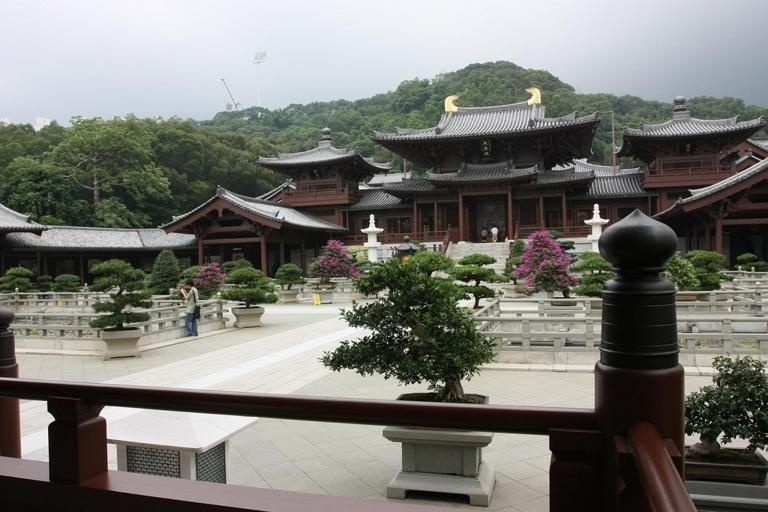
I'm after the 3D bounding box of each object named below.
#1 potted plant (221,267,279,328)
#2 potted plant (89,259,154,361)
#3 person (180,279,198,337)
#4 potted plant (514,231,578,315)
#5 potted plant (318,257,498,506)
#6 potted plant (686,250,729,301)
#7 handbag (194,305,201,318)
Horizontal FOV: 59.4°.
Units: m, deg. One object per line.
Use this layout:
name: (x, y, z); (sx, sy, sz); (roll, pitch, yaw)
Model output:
potted plant: (-3.264, 0.976, 16.236); (1.562, 1.418, 1.555); (-1, 3, -20)
potted plant: (-4.889, 0.924, 12.571); (1.040, 1.761, 1.799); (0, 5, -21)
person: (-4.112, 1.088, 14.450); (0.280, 1.263, 0.970); (1, 4, -16)
potted plant: (3.741, 0.252, 15.103); (1.810, 1.666, 1.571); (2, 12, 23)
potted plant: (0.356, 1.197, 6.801); (1.575, 2.220, 1.226); (2, 4, 8)
potted plant: (7.396, 0.448, 15.528); (1.243, 1.031, 0.890); (0, -5, -10)
handbag: (-4.018, 1.194, 14.471); (0.099, 0.305, 0.188); (2, 4, 1)
